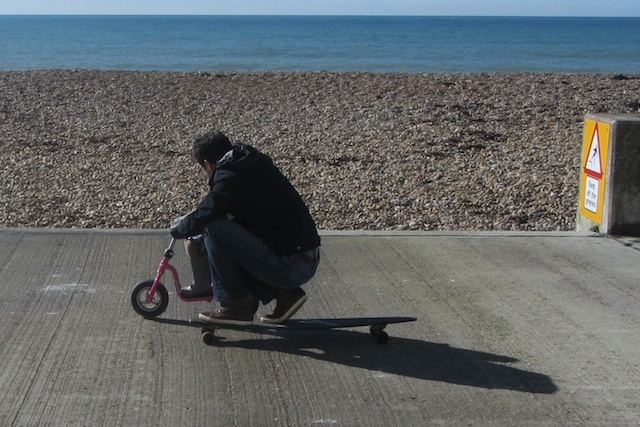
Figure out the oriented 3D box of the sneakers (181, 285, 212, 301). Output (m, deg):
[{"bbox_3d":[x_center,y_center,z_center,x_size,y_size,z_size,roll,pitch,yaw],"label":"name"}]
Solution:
[{"bbox_3d":[-1.085,0.696,5.889,0.318,0.144,0.111,3,3,-1],"label":"sneakers"}]
